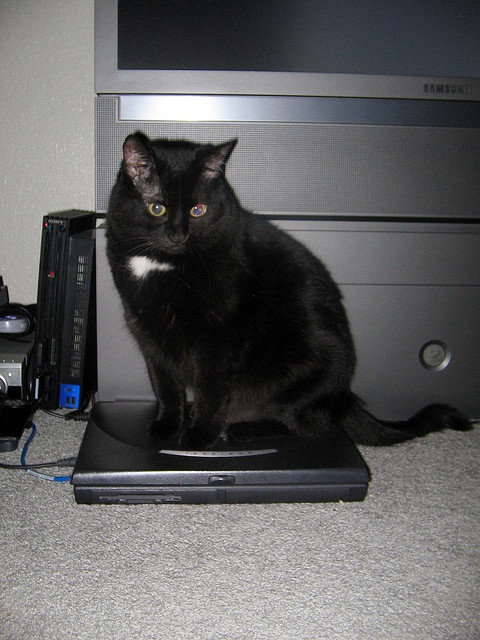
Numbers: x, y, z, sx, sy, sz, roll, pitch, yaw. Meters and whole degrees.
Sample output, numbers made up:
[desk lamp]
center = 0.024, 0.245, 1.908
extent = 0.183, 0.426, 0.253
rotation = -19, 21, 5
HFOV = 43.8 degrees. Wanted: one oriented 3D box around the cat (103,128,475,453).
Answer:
[cat]
center = 0.032, -0.015, 1.120
extent = 0.631, 0.548, 0.378
rotation = 1, -2, -15
